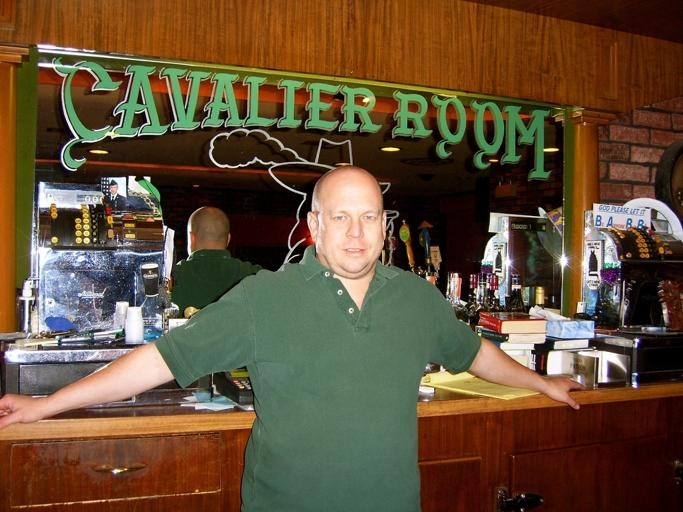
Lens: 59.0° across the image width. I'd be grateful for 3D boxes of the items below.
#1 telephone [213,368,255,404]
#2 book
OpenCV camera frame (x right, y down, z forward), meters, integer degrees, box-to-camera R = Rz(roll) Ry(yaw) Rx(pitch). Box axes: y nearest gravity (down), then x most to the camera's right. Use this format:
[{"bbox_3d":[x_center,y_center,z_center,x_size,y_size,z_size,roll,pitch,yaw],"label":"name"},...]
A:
[{"bbox_3d":[-0.496,0.580,2.711,0.164,0.103,0.154,4,-9,-26],"label":"telephone"},{"bbox_3d":[1.002,0.452,3.133,0.359,0.143,0.442,0,3,-24],"label":"book"}]
